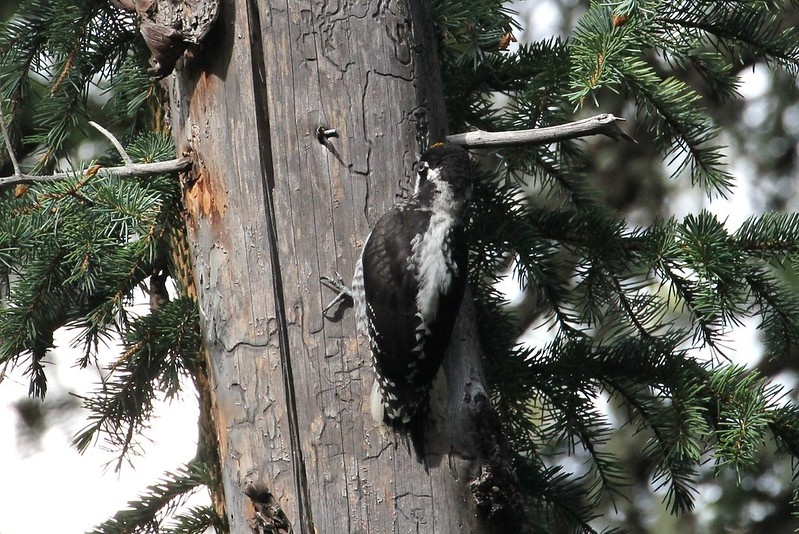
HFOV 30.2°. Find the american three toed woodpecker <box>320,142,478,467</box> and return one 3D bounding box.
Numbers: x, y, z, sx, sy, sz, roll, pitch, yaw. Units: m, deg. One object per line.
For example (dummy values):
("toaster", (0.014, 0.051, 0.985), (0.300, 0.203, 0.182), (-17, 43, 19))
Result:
("american three toed woodpecker", (-0.042, 0.256, 8.354), (0.576, 1.340, 1.336), (24, -63, -26))
